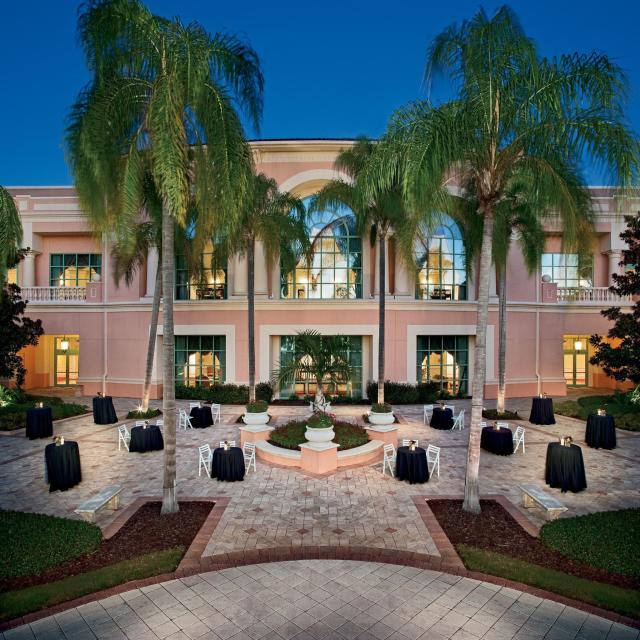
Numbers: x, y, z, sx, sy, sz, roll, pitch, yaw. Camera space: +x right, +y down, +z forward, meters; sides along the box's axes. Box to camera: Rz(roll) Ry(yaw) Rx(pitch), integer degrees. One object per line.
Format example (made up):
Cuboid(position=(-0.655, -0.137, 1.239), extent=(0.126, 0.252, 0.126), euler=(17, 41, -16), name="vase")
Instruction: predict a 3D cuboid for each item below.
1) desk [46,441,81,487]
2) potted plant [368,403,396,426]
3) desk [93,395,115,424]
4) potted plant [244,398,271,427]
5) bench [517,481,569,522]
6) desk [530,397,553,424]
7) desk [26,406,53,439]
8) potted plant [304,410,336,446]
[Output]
Cuboid(position=(-5.239, 3.004, 11.228), extent=(0.665, 0.947, 0.384), euler=(-3, 6, -34), name="desk")
Cuboid(position=(1.593, 2.533, 14.480), extent=(0.486, 0.430, 0.565), euler=(-2, 1, 1), name="potted plant")
Cuboid(position=(-6.743, 2.824, 17.091), extent=(0.680, 0.943, 0.375), euler=(0, 5, -6), name="desk")
Cuboid(position=(-1.694, 2.495, 14.590), extent=(0.524, 0.734, 0.633), euler=(0, 0, 6), name="potted plant")
Cuboid(position=(4.120, 3.412, 10.280), extent=(0.572, 0.356, 1.147), euler=(-1, 6, -14), name="bench")
Cuboid(position=(6.891, 2.803, 17.167), extent=(0.641, 0.880, 0.698), euler=(-1, -5, 27), name="desk")
Cuboid(position=(-7.782, 2.902, 15.228), extent=(0.635, 0.840, 0.316), euler=(-3, 6, -38), name="desk")
Cuboid(position=(0.005, 2.471, 12.537), extent=(0.543, 0.765, 0.653), euler=(-1, -3, 9), name="potted plant")
